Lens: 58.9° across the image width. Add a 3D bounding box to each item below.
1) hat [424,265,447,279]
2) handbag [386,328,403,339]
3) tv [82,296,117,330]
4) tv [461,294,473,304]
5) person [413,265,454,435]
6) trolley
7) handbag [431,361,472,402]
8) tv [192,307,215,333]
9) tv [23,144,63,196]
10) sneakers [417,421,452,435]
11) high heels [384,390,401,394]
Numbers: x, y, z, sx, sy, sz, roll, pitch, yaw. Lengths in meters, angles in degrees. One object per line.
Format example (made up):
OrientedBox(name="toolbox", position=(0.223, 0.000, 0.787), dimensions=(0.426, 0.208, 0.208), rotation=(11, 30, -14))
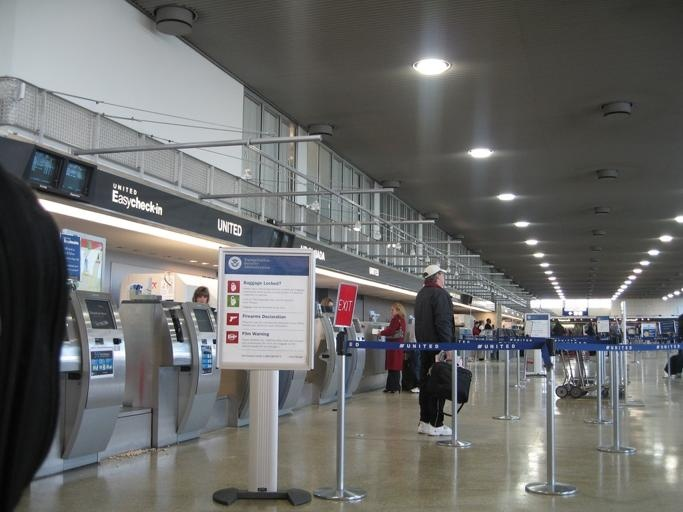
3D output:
OrientedBox(name="hat", position=(1.253, 0.203, 7.964), dimensions=(0.248, 0.137, 0.179), rotation=(-4, -6, -23))
OrientedBox(name="handbag", position=(1.090, 1.561, 12.089), dimensions=(0.230, 0.100, 0.183), rotation=(-8, -1, -11))
OrientedBox(name="tv", position=(-2.394, 0.573, 5.931), dimensions=(0.032, 0.317, 0.320), rotation=(-24, -17, 20))
OrientedBox(name="tv", position=(6.053, 2.129, 29.502), dimensions=(0.158, 0.675, 0.683), rotation=(6, -4, 39))
OrientedBox(name="person", position=(1.179, 1.141, 7.635), dimensions=(0.481, 2.244, 0.967), rotation=(-1, -10, 7))
OrientedBox(name="trolley", position=(5.058, 2.403, 12.402), dimensions=(1.151, 1.032, 0.764), rotation=(-7, -16, 31))
OrientedBox(name="handbag", position=(1.298, 1.529, 7.276), dimensions=(0.501, 0.509, 0.391), rotation=(-1, -10, 7))
OrientedBox(name="tv", position=(-1.698, 0.794, 7.349), dimensions=(0.044, 0.261, 0.266), rotation=(-22, -27, 22))
OrientedBox(name="tv", position=(-3.244, -0.943, 6.581), dimensions=(0.180, 0.416, 0.461), rotation=(-2, -10, 10))
OrientedBox(name="sneakers", position=(1.202, 2.218, 7.724), dimensions=(0.366, 0.158, 0.174), rotation=(1, -6, -4))
OrientedBox(name="high heels", position=(1.094, 2.979, 13.136), dimensions=(0.300, 0.128, 0.109), rotation=(3, -11, 8))
